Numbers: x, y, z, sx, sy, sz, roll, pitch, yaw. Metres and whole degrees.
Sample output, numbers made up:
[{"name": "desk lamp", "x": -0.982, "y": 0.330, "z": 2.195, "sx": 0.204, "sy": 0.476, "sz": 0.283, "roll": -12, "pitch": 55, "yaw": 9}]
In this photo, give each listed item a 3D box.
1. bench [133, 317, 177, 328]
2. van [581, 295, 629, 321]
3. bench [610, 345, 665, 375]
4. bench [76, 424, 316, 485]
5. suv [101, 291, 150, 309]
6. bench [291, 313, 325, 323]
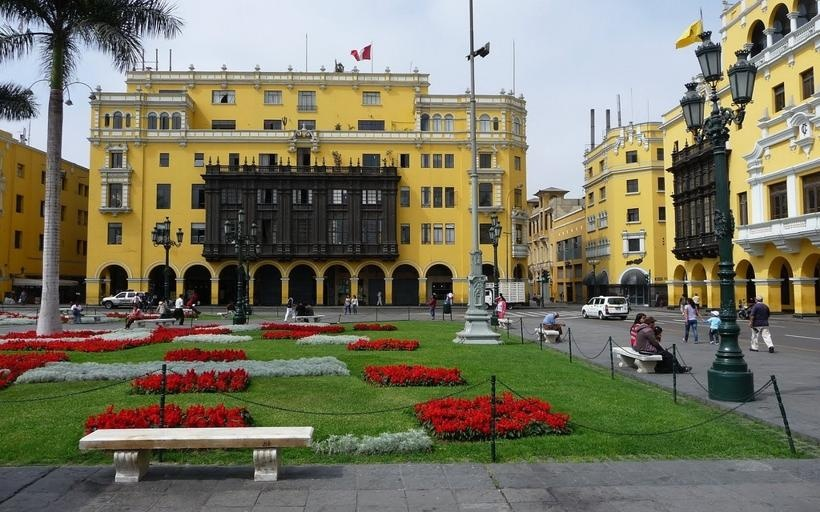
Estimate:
[{"name": "bench", "x": -16.628, "y": 4.361, "z": 51.694, "sx": 2.579, "sy": 0.613, "sz": 2.103, "roll": -2, "pitch": -5, "yaw": 28}, {"name": "van", "x": 15.669, "y": 4.218, "z": 64.192, "sx": 1.652, "sy": 1.749, "sz": 3.539, "roll": 3, "pitch": -5, "yaw": -30}, {"name": "bench", "x": 10.872, "y": 5.054, "z": 38.416, "sx": 1.007, "sy": 1.150, "sz": 2.482, "roll": 4, "pitch": -6, "yaw": -42}, {"name": "bench", "x": -8.060, "y": 7.668, "z": 30.671, "sx": 8.300, "sy": 1.842, "sz": 2.639, "roll": 1, "pitch": -1, "yaw": -10}, {"name": "suv", "x": -26.496, "y": 4.176, "z": 74.378, "sx": 4.151, "sy": 1.567, "sz": 1.934, "roll": 2, "pitch": -2, "yaw": -5}, {"name": "bench", "x": -7.045, "y": 4.472, "z": 55.977, "sx": 2.001, "sy": 0.521, "sz": 5.399, "roll": 0, "pitch": -4, "yaw": -4}]
